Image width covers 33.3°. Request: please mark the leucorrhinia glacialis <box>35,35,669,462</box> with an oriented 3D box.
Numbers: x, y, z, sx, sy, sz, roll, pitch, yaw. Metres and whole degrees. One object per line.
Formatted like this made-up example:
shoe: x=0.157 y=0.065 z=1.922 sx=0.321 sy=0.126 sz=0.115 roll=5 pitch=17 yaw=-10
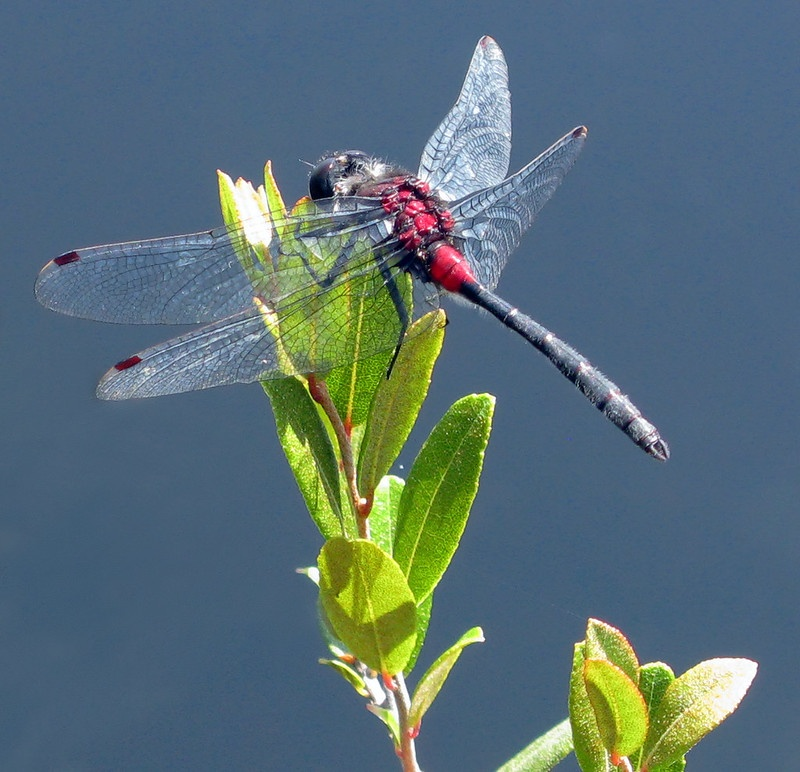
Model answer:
leucorrhinia glacialis: x=0.103 y=-0.200 z=1.778 sx=0.994 sy=0.407 sz=0.683 roll=-24 pitch=10 yaw=-41
